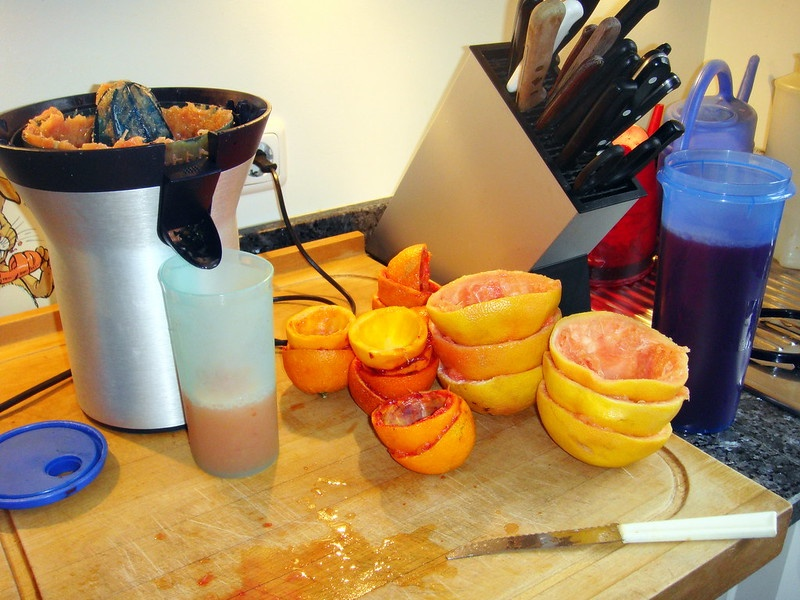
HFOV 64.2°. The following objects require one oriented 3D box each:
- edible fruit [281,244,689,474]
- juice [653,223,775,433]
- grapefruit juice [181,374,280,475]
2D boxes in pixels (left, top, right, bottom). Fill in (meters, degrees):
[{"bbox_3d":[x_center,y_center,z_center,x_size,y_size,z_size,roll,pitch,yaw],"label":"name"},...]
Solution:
[{"bbox_3d":[0.122,0.042,0.756,0.347,0.174,0.185,7,29,38],"label":"edible fruit"},{"bbox_3d":[0.359,0.022,0.778,0.130,0.274,0.128,12,14,39],"label":"juice"},{"bbox_3d":[-0.188,0.142,0.747,0.106,0.100,0.094,-1,22,-6],"label":"grapefruit juice"}]
